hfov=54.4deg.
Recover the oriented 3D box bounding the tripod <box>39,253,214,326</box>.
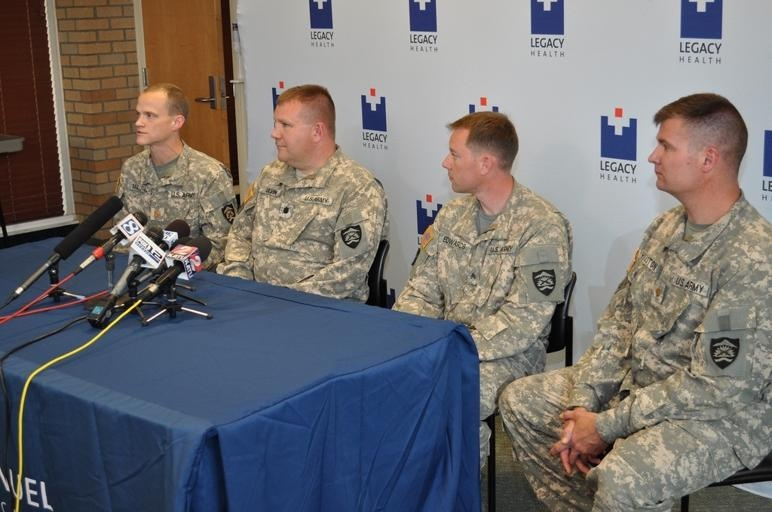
[{"bbox_3d":[-0.866,0.069,2.679,0.266,0.217,0.407,16,20,29],"label":"tripod"}]

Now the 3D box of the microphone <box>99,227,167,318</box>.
[{"bbox_3d":[-0.921,0.065,2.736,0.066,0.330,0.081,17,-19,28],"label":"microphone"}]

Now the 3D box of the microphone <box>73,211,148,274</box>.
[{"bbox_3d":[-1.088,-0.051,2.963,0.100,0.398,0.080,39,-10,18],"label":"microphone"}]

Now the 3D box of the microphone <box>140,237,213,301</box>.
[{"bbox_3d":[-0.727,0.007,2.819,0.097,0.103,0.426,2,33,33],"label":"microphone"}]

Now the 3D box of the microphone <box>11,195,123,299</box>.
[{"bbox_3d":[-1.617,-0.063,3.742,0.112,0.116,0.797,35,67,30],"label":"microphone"}]
